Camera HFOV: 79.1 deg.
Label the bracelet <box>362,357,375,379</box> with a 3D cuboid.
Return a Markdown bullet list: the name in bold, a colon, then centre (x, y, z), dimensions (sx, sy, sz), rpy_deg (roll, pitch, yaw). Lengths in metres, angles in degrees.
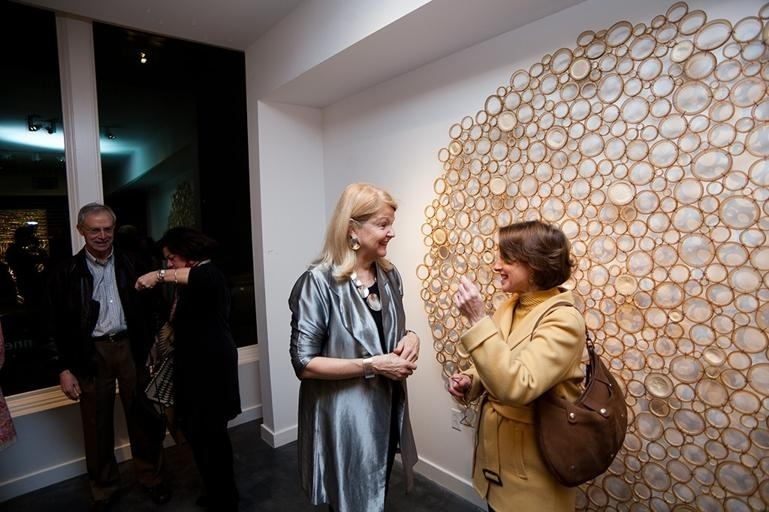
- **bracelet**: centre (-0.094, 0.624, 2.573), dimensions (0.066, 0.110, 0.094), rpy_deg (-5, 6, -4)

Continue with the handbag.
- **handbag**: centre (1.001, 0.790, 2.369), dimensions (0.467, 0.739, 0.255), rpy_deg (-1, 1, -25)

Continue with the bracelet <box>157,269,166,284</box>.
- **bracelet**: centre (-1.610, 0.150, 3.376), dimensions (0.080, 0.115, 0.042), rpy_deg (3, 2, 19)
